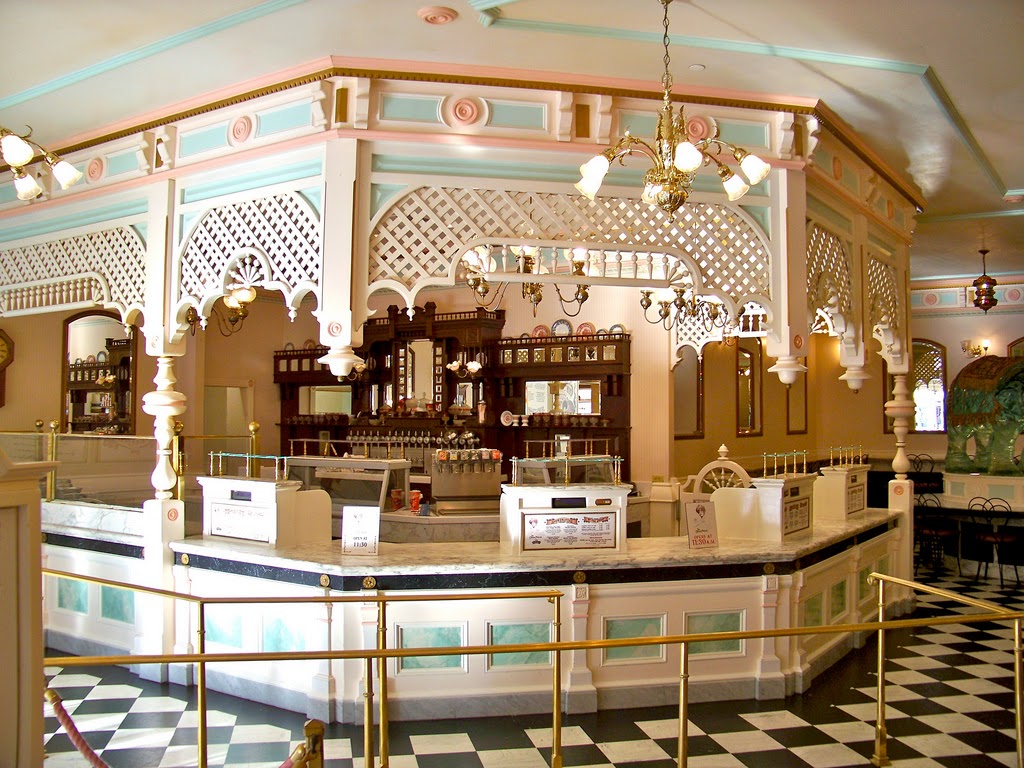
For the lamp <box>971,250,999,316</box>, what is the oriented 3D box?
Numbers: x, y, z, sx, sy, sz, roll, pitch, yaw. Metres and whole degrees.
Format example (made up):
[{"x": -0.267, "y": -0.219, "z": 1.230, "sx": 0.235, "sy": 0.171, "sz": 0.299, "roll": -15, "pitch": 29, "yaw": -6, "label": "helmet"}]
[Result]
[{"x": 7.205, "y": -1.560, "z": 13.706, "sx": 0.357, "sy": 0.953, "sz": 0.345, "roll": -1, "pitch": 0, "yaw": 12, "label": "lamp"}]

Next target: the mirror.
[{"x": -5.861, "y": -0.108, "z": 12.778, "sx": 0.385, "sy": 1.648, "sz": 1.165, "roll": -2, "pitch": -4, "yaw": 25, "label": "mirror"}]

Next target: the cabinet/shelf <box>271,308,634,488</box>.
[{"x": -0.968, "y": 0.059, "z": 13.999, "sx": 6.255, "sy": 2.704, "sz": 0.760, "roll": -2, "pitch": -5, "yaw": 30, "label": "cabinet/shelf"}]

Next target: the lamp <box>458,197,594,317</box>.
[{"x": 0.201, "y": -1.354, "z": 10.382, "sx": 1.645, "sy": 0.529, "sz": 1.654, "roll": -24, "pitch": 17, "yaw": 2, "label": "lamp"}]

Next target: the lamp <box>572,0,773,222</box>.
[{"x": 1.144, "y": -2.082, "z": 6.762, "sx": 1.476, "sy": 1.961, "sz": 1.215, "roll": 0, "pitch": 0, "yaw": 0, "label": "lamp"}]
